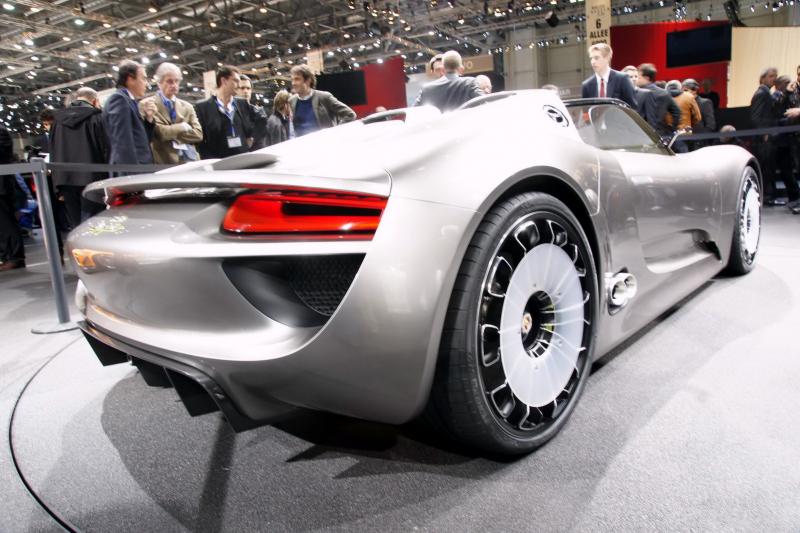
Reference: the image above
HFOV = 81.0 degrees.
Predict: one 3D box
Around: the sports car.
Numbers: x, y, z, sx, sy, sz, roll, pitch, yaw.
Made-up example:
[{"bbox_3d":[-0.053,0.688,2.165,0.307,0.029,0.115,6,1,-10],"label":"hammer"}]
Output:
[{"bbox_3d":[0.779,-0.485,3.814,5.259,1.403,2.829,-15,19,-41],"label":"sports car"}]
